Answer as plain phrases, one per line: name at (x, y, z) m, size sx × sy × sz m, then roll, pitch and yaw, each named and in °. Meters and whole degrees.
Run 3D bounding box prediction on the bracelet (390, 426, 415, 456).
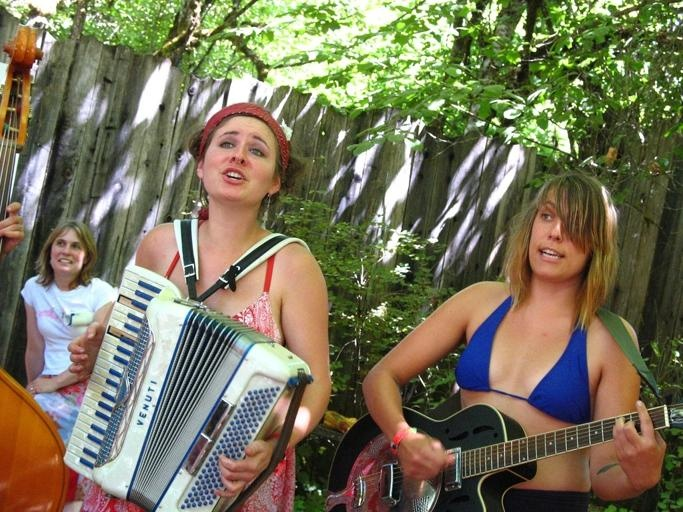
bracelet at (0.315, 0.964, 3.494) m, size 0.115 × 0.128 × 0.050 m, roll 24°, pitch 5°, yaw 18°
